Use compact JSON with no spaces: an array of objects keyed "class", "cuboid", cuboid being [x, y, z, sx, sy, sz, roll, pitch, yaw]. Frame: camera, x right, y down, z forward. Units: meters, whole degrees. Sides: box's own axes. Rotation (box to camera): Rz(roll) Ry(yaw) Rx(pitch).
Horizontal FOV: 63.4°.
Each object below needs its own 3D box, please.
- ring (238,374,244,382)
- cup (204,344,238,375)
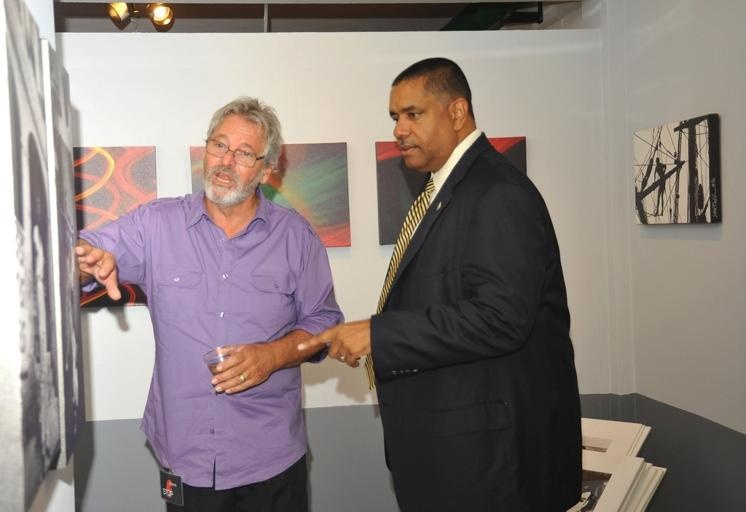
[{"class":"ring","cuboid":[-0.605,0.567,2.783,0.024,0.027,0.019,2,18,6]},{"class":"cup","cuboid":[-0.700,0.473,2.836,0.115,0.107,0.130,-31,-26,10]}]
